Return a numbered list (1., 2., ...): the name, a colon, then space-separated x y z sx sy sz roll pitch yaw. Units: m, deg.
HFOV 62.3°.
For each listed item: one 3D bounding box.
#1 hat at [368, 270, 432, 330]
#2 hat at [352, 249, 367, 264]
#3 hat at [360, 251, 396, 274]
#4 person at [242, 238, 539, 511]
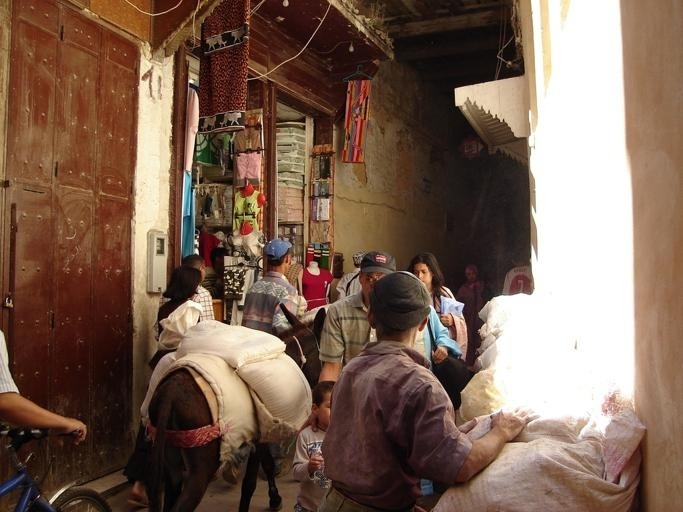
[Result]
1. hat: 0.308 0.225 2.849 0.214 0.266 0.316 0 22 -2
2. hat: 0.250 0.049 7.593 0.176 0.224 0.152 -2 16 -27
3. hat: 0.278 0.054 4.180 0.194 0.118 0.158 8 2 11
4. person: 0.228 0.817 4.030 1.385 2.168 1.128 25 38 34
